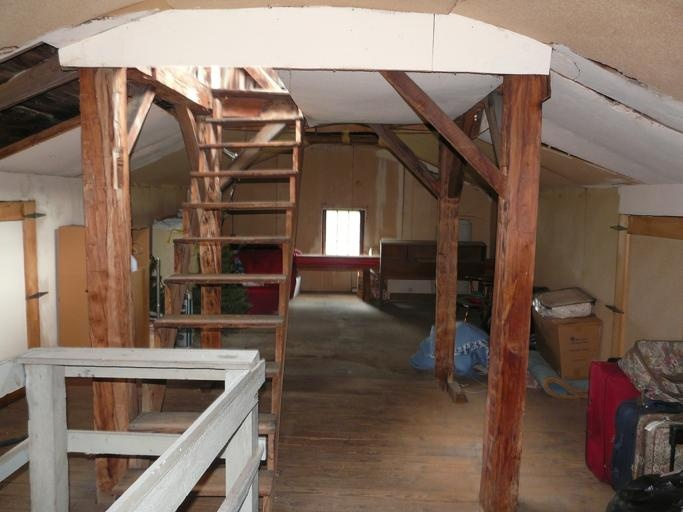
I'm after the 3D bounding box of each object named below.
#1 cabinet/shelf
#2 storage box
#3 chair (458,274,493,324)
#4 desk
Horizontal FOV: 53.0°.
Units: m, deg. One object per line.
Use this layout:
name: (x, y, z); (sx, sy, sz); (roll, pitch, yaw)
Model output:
cabinet/shelf: (1.355, 0.241, 10.311); (1.541, 0.962, 0.594); (1, 5, 7)
storage box: (2.408, 0.889, 7.359); (0.426, 0.579, 0.818); (-4, 9, -2)
chair: (1.903, 0.686, 9.550); (0.483, 0.620, 1.647); (2, -5, 13)
desk: (-0.073, 0.329, 10.739); (1.281, 0.779, 0.753); (1, 11, -3)
